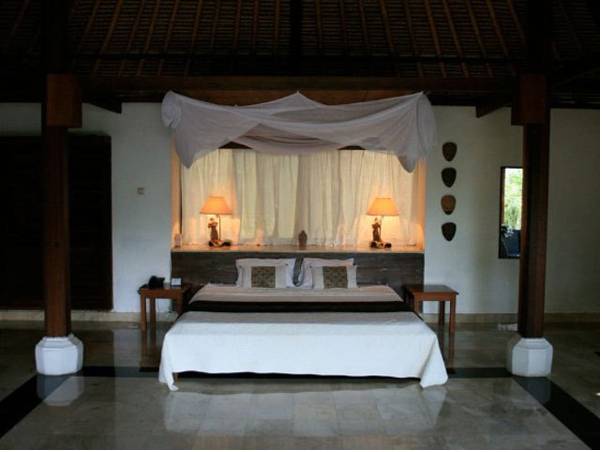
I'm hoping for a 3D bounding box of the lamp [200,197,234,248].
[{"bbox_3d":[-1.277,-0.066,8.123,0.491,0.804,0.446,1,0,-8],"label":"lamp"}]

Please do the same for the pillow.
[{"bbox_3d":[-0.190,0.638,7.378,1.207,0.456,0.131,2,-8,-6],"label":"pillow"}]

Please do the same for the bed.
[{"bbox_3d":[0.025,1.305,6.603,3.136,1.093,1.829,1,0,-1],"label":"bed"}]

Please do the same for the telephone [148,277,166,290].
[{"bbox_3d":[-2.024,0.796,7.493,0.144,0.073,0.196,1,8,2],"label":"telephone"}]

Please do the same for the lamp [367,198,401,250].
[{"bbox_3d":[1.261,-0.044,8.145,0.460,0.780,0.443,1,0,10],"label":"lamp"}]
